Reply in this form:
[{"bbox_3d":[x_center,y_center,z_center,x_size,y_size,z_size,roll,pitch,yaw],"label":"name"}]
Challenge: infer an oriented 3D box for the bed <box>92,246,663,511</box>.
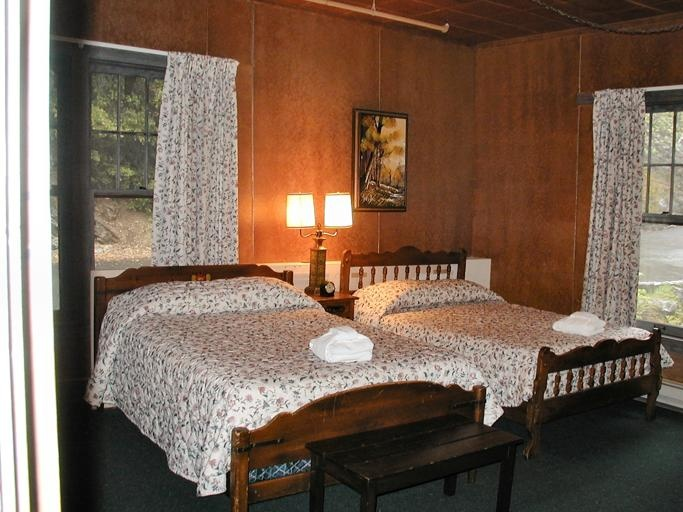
[{"bbox_3d":[-0.417,0.621,3.461,2.483,0.948,1.771,-3,7,-33],"label":"bed"}]
